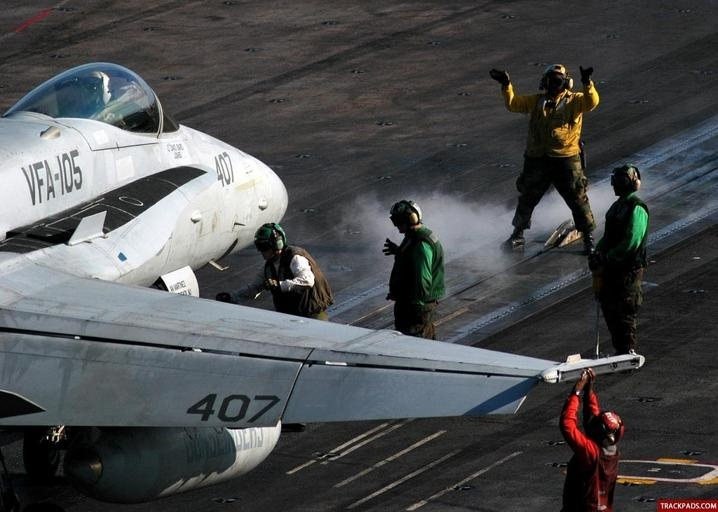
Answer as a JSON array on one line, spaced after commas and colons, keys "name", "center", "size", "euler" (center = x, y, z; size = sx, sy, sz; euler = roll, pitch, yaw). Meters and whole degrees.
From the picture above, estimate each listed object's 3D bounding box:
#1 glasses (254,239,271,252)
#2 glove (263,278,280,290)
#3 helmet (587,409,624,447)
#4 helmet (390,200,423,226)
[{"name": "glasses", "center": [-1.263, -0.134, 16.620], "size": [0.211, 0.142, 0.177], "euler": [3, -14, -8]}, {"name": "glove", "center": [-1.126, 0.368, 16.516], "size": [0.270, 0.106, 0.203], "euler": [-5, -3, -2]}, {"name": "helmet", "center": [2.674, 1.779, 13.038], "size": [0.457, 0.312, 0.426], "euler": [-5, 5, -14]}, {"name": "helmet", "center": [0.691, -0.586, 16.696], "size": [0.487, 0.263, 0.407], "euler": [-7, 19, -20]}]
